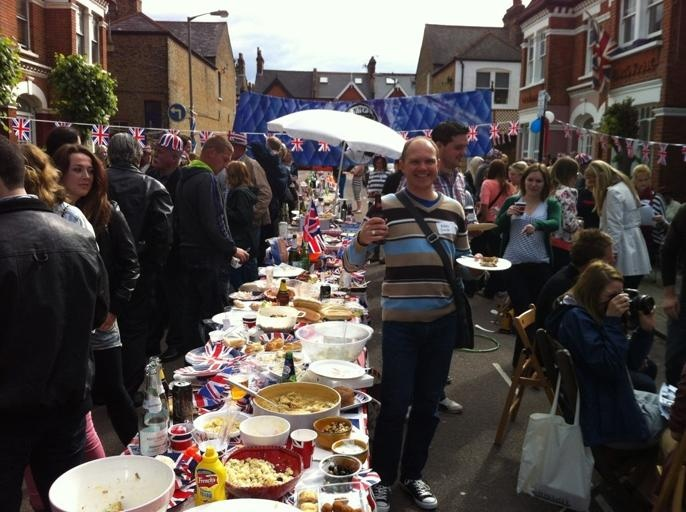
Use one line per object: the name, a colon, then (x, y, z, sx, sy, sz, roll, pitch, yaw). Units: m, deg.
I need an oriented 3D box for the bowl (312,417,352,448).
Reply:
bowl: (-0.082, 1.017, 3.305, 0.198, 0.117, 0.199, 5, 5, 0)

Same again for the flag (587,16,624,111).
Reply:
flag: (8.231, -6.327, 18.278, 0.185, 2.880, 0.903, -15, 13, -40)

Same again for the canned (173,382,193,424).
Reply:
canned: (-0.967, 0.860, 3.470, 0.122, 0.231, 0.182, -2, 13, -13)

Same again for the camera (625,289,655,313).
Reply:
camera: (2.250, 0.350, 4.419, 0.124, 0.212, 0.220, -19, 9, -24)

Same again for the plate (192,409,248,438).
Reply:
plate: (-0.759, 0.970, 3.365, 0.173, 0.045, 0.180, 11, 13, 31)

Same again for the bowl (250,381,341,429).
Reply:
bowl: (-0.257, 0.907, 3.456, 0.421, 0.220, 0.443, 4, 6, 0)

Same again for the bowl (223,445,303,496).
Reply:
bowl: (-0.407, 1.086, 2.917, 0.272, 0.163, 0.378, 8, 7, 44)

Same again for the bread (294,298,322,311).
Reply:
bread: (-0.319, 0.420, 5.129, 0.203, 0.082, 0.115, 14, 16, 2)
